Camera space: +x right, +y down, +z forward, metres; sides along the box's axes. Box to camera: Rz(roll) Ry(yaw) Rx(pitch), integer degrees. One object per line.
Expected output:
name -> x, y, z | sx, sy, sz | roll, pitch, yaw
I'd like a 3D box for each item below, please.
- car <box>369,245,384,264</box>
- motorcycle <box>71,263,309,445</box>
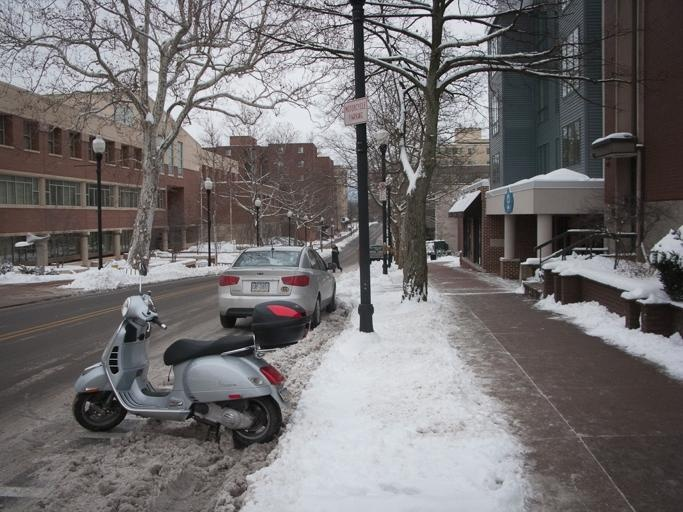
car -> 3.163, -0.274, 51.680 | 1.399, 1.257, 2.460 | 0, -1, 2
motorcycle -> -1.892, 1.358, 7.183 | 2.744, 1.914, 1.078 | 2, 5, 4
